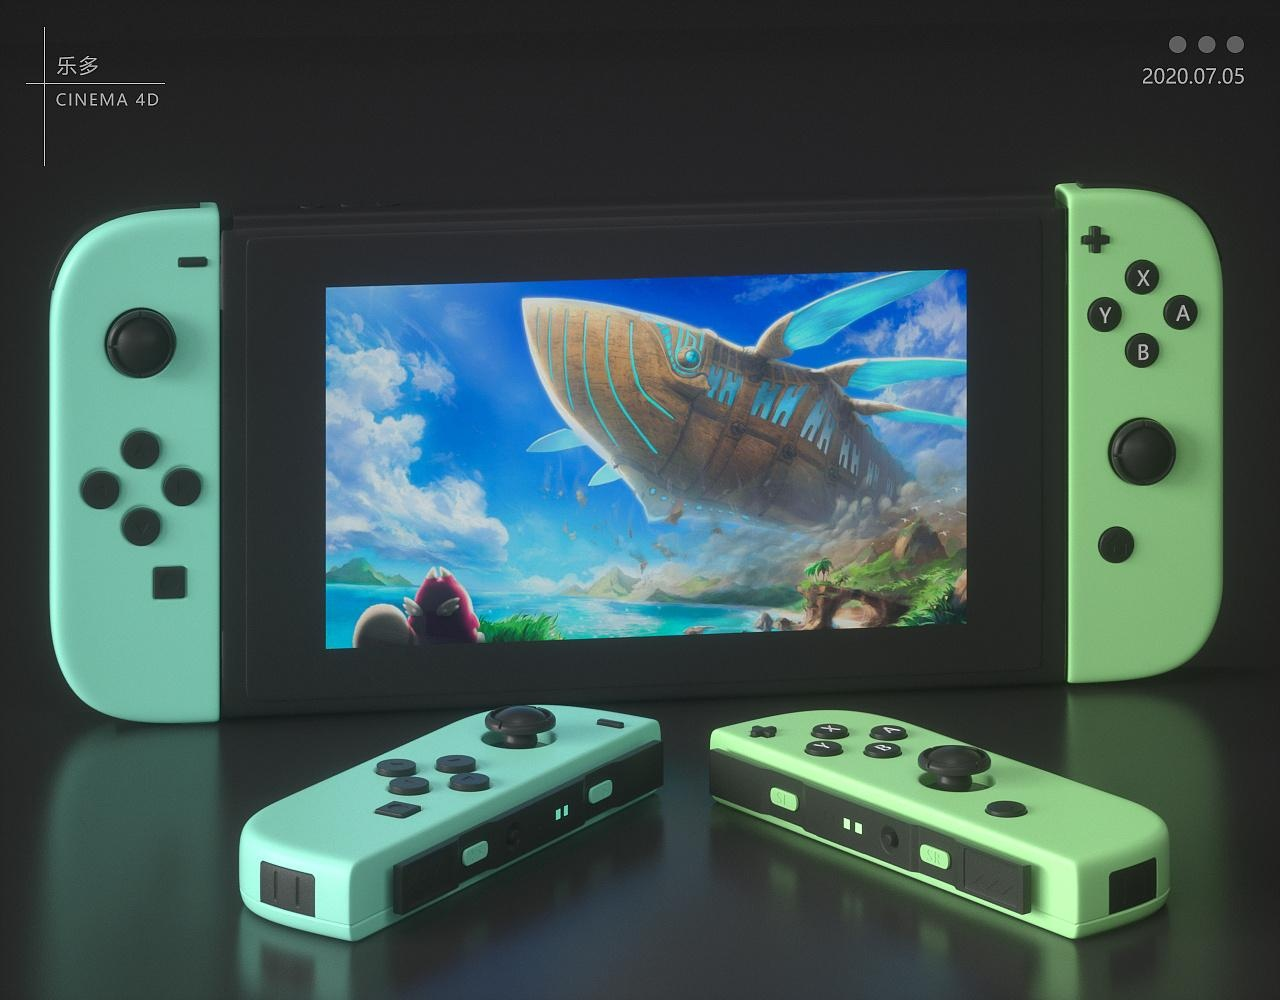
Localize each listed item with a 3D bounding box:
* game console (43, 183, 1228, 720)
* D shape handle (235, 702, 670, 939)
[{"bbox_3d":[-0.019,-0.034,0.895,0.745,0.385,0.086,0,-1,-3],"label":"game console"},{"bbox_3d":[-0.100,0.174,0.689,0.088,0.058,0.246,6,12,42],"label":"D shape handle"}]
